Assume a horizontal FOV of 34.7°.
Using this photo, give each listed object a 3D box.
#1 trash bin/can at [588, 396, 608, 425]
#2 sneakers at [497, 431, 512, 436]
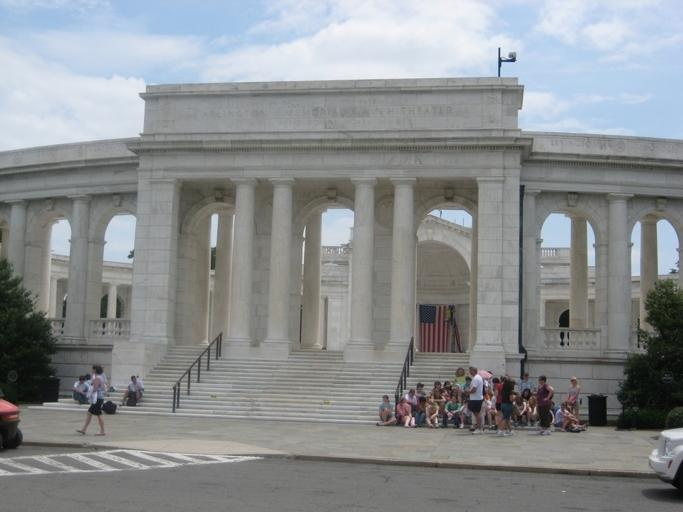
[{"bbox_3d":[10.882,6.576,46.523,0.884,1.262,0.954,0,2,39],"label":"trash bin/can"},{"bbox_3d":[5.929,6.472,39.874,0.565,0.230,0.185,-1,1,-6],"label":"sneakers"}]
